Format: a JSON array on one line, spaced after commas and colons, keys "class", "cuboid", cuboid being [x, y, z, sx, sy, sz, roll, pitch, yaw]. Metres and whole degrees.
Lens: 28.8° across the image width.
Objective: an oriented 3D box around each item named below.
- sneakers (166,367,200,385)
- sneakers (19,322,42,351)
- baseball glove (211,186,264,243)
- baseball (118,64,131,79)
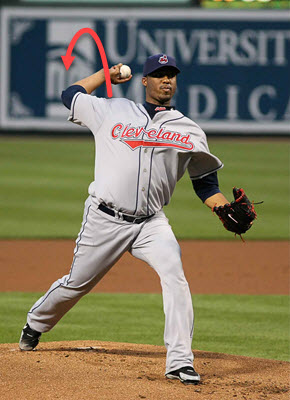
[{"class": "sneakers", "cuboid": [0.192, 0.932, 3.002, 0.179, 0.076, 0.071, -4, -6, 44]}, {"class": "sneakers", "cuboid": [-0.737, 0.892, 3.681, 0.091, 0.184, 0.113, 28, -43, -24]}, {"class": "baseball glove", "cuboid": [0.570, 0.051, 3.356, 0.270, 0.326, 0.152, -37, -2, 36]}, {"class": "baseball", "cuboid": [-0.134, -0.896, 3.896, 0.083, 0.081, 0.102, 0, 11, 6]}]
